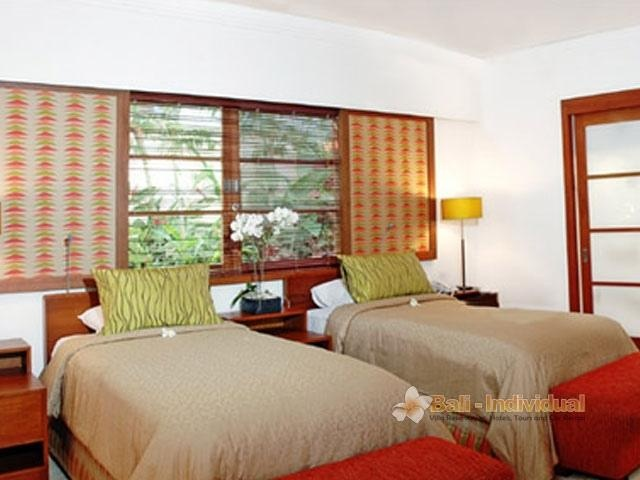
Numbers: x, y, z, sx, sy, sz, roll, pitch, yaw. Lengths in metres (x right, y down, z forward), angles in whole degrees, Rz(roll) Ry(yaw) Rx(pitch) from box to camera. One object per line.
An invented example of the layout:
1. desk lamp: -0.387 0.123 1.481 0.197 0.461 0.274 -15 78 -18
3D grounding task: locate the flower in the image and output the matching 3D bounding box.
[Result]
1. flower: -0.523 0.110 4.112 0.604 0.775 0.488 -4 4 -16

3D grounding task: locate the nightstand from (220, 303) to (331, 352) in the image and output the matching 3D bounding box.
1. nightstand: -0.310 0.785 3.936 0.524 0.314 0.483 0 1 -34

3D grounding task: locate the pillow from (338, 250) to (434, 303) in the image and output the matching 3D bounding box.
1. pillow: 0.567 0.218 4.344 0.996 0.379 0.434 -2 17 -26
